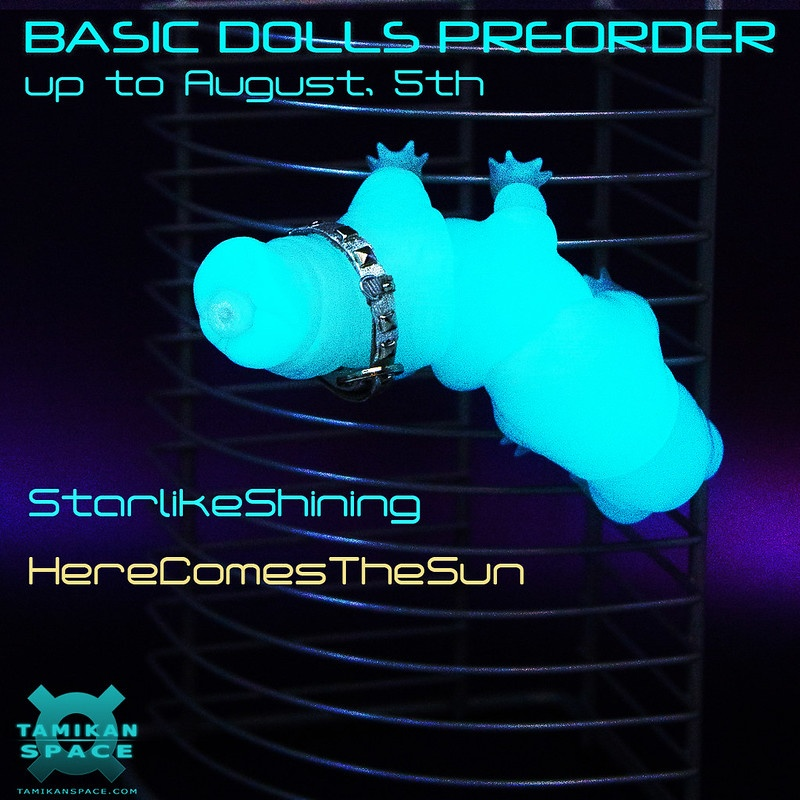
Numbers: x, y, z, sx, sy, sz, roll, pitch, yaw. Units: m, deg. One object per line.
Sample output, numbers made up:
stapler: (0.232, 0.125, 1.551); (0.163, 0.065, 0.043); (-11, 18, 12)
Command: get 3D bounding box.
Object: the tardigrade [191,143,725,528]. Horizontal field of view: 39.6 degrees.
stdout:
tardigrade: (0.034, -0.026, 0.837); (0.382, 0.232, 0.106); (15, -36, -29)
